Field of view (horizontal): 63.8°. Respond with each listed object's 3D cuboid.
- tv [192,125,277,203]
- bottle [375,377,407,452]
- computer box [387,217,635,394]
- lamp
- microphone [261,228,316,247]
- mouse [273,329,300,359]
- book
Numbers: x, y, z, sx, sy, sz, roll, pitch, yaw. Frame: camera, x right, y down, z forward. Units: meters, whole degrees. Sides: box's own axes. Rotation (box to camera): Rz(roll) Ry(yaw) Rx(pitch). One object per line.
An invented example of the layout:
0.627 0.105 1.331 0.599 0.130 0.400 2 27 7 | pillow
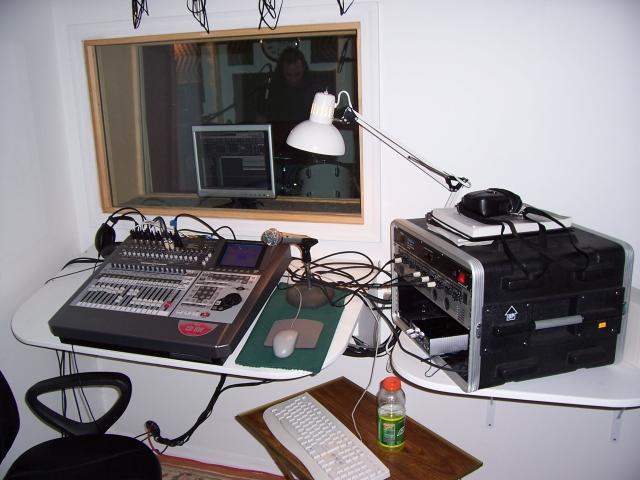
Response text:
-0.373 -0.372 2.371 0.402 0.324 0.147 2 14 19 | tv
0.283 0.632 2.013 0.126 0.292 0.213 4 21 9 | bottle
0.614 0.176 1.754 0.608 0.416 0.599 -4 13 -17 | computer box
0.254 -0.375 2.054 0.679 0.415 0.515 6 21 12 | lamp
-0.131 -0.006 2.050 0.164 0.058 0.094 2 2 5 | microphone
-0.128 0.357 1.777 0.073 0.069 0.096 8 22 18 | mouse
0.557 -0.079 1.767 0.184 0.032 0.242 -6 21 -16 | book
